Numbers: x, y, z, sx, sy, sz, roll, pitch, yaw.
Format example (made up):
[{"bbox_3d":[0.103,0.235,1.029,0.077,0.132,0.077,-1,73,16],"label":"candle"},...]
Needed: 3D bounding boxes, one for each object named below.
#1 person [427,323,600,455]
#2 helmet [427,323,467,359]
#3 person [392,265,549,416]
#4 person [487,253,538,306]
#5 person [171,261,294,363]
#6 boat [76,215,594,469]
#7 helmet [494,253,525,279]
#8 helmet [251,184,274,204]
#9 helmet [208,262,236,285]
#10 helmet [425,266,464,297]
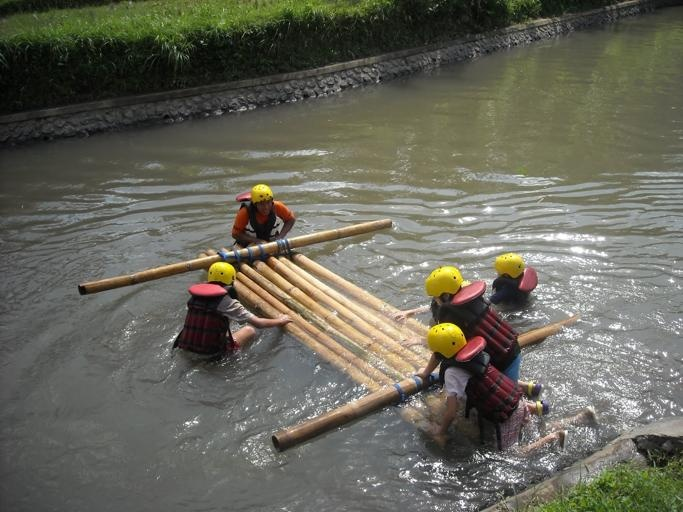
[{"bbox_3d":[1.715,1.367,6.616,1.005,1.066,1.947,-22,17,-30],"label":"person"},{"bbox_3d":[1.138,0.891,6.831,0.390,0.324,0.487,-9,-12,-17],"label":"helmet"},{"bbox_3d":[1.557,0.877,7.310,2.408,1.337,0.761,5,8,41],"label":"person"},{"bbox_3d":[2.208,0.320,8.388,0.700,0.683,0.680,-1,17,14],"label":"person"},{"bbox_3d":[-1.540,0.707,8.041,1.555,0.941,1.041,-2,-2,36],"label":"person"},{"bbox_3d":[-0.007,0.723,8.358,3.841,0.228,3.670,-19,34,-28],"label":"boat"},{"bbox_3d":[2.150,0.124,8.315,0.316,0.246,0.357,22,6,11],"label":"helmet"},{"bbox_3d":[-1.131,-0.849,9.339,0.291,0.240,0.355,-3,-23,-32],"label":"helmet"},{"bbox_3d":[-1.476,0.214,7.933,0.277,0.262,0.340,18,-28,-34],"label":"helmet"},{"bbox_3d":[1.062,0.289,7.313,0.538,0.327,0.330,-1,24,-9],"label":"helmet"}]
